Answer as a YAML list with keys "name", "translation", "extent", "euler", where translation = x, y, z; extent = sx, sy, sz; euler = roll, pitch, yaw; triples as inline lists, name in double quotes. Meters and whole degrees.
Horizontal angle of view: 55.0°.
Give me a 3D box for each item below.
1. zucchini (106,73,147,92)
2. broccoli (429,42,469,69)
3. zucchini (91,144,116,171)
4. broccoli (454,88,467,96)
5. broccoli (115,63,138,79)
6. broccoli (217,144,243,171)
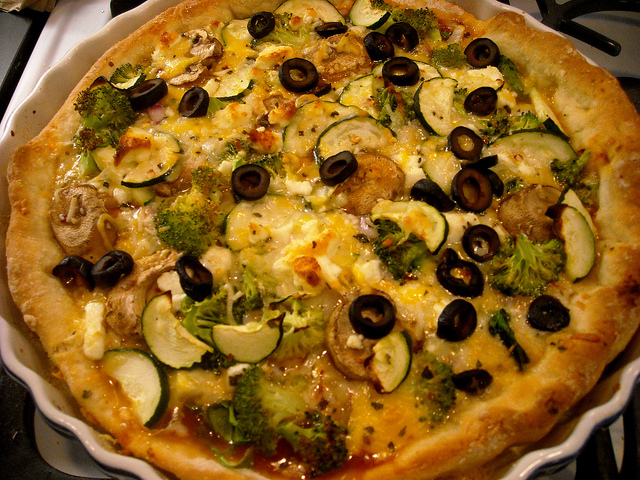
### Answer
- name: "zucchini"
  translation: [-2.220, -1.842, 7.166]
  extent: [0.245, 0.065, 0.338]
  euler: [-4, 55, 8]
- name: "broccoli"
  translation: [1.568, -2.212, 7.469]
  extent: [0.351, 0.138, 0.388]
  euler: [5, 51, 10]
- name: "zucchini"
  translation: [-2.363, -0.900, 6.715]
  extent: [0.255, 0.091, 0.254]
  euler: [-28, 80, -10]
- name: "broccoli"
  translation: [1.625, -1.699, 7.097]
  extent: [0.091, 0.027, 0.091]
  euler: [-24, 58, -24]
- name: "broccoli"
  translation: [-2.336, -2.035, 7.415]
  extent: [0.215, 0.061, 0.228]
  euler: [8, 37, -13]
- name: "broccoli"
  translation: [-0.978, -0.896, 6.719]
  extent: [0.284, 0.079, 0.289]
  euler: [-3, 63, 25]
